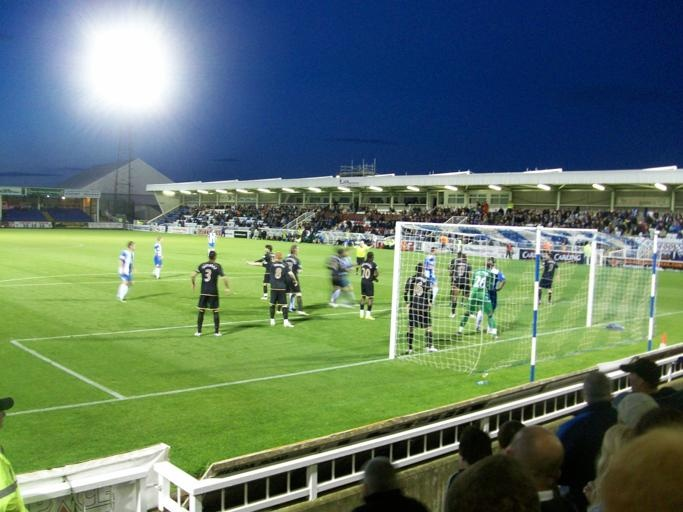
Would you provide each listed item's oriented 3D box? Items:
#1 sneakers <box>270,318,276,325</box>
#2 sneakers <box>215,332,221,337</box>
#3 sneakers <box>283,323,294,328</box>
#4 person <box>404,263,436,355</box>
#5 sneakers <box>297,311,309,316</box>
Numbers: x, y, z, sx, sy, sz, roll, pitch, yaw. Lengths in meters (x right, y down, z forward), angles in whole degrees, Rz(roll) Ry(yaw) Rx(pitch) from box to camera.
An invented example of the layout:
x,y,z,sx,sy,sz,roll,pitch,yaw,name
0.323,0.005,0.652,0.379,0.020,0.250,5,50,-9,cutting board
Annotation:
x,y,z,sx,sy,sz,roll,pitch,yaw,name
-1.636,1.574,14.588,0.167,0.175,0.162,-1,3,-8,sneakers
-2.694,1.704,13.359,0.069,0.069,0.168,2,6,14,sneakers
-1.254,1.648,14.513,0.250,0.158,0.082,-4,22,-9,sneakers
1.540,1.042,12.047,0.664,1.855,0.686,2,5,8,person
-1.018,1.505,16.180,0.323,0.130,0.107,1,9,9,sneakers
